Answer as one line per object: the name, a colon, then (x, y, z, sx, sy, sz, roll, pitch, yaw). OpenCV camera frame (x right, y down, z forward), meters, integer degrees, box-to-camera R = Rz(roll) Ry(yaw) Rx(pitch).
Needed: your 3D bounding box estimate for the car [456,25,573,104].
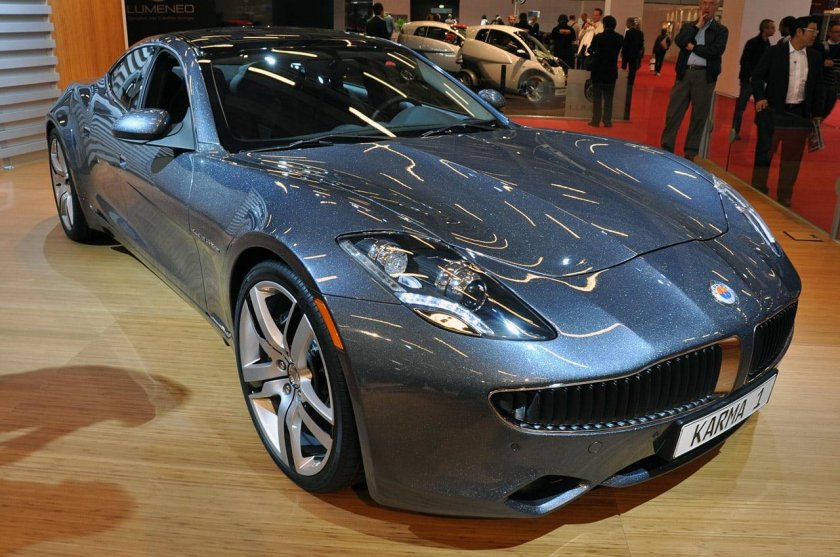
car: (1.546, -3.552, 9.612, 2.105, 0.982, 1.140, 12, 30, 11)

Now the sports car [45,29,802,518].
sports car: (-0.539, -0.726, 3.636, 2.403, 1.198, 4.771, -24, 39, -37)

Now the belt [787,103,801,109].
belt: (4.037, -1.863, 6.274, 0.089, 0.016, 0.075, 0, 0, -2)
